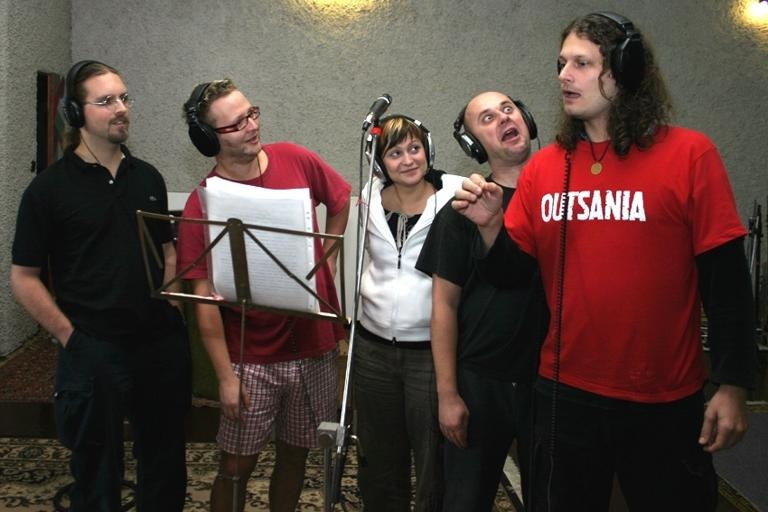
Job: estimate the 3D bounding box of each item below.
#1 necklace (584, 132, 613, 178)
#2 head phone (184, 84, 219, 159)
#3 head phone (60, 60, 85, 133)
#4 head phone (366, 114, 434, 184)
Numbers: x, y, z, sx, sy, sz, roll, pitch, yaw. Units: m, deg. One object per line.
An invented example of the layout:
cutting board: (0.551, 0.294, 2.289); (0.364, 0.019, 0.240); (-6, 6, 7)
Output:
necklace: (0.857, -0.386, 2.868); (0.116, 0.144, 0.008); (-19, -39, 41)
head phone: (-0.908, -0.677, 3.539); (0.150, 0.355, 0.261); (-7, 18, -15)
head phone: (-1.571, -0.815, 3.630); (0.150, 0.340, 0.233); (-9, 19, -22)
head phone: (0.046, -0.494, 3.350); (0.312, 0.365, 0.143); (-17, 11, 5)
